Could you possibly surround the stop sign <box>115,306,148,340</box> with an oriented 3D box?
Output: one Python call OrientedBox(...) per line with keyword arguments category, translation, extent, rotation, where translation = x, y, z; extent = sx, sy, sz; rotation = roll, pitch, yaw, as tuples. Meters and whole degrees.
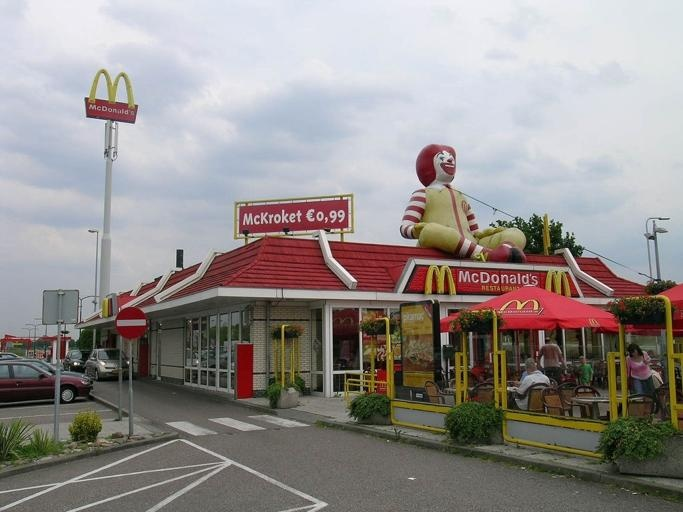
OrientedBox(category="stop sign", translation=(-5.279, 1.678, 15.998), extent=(0.678, 0.803, 0.508), rotation=(4, -9, -23))
